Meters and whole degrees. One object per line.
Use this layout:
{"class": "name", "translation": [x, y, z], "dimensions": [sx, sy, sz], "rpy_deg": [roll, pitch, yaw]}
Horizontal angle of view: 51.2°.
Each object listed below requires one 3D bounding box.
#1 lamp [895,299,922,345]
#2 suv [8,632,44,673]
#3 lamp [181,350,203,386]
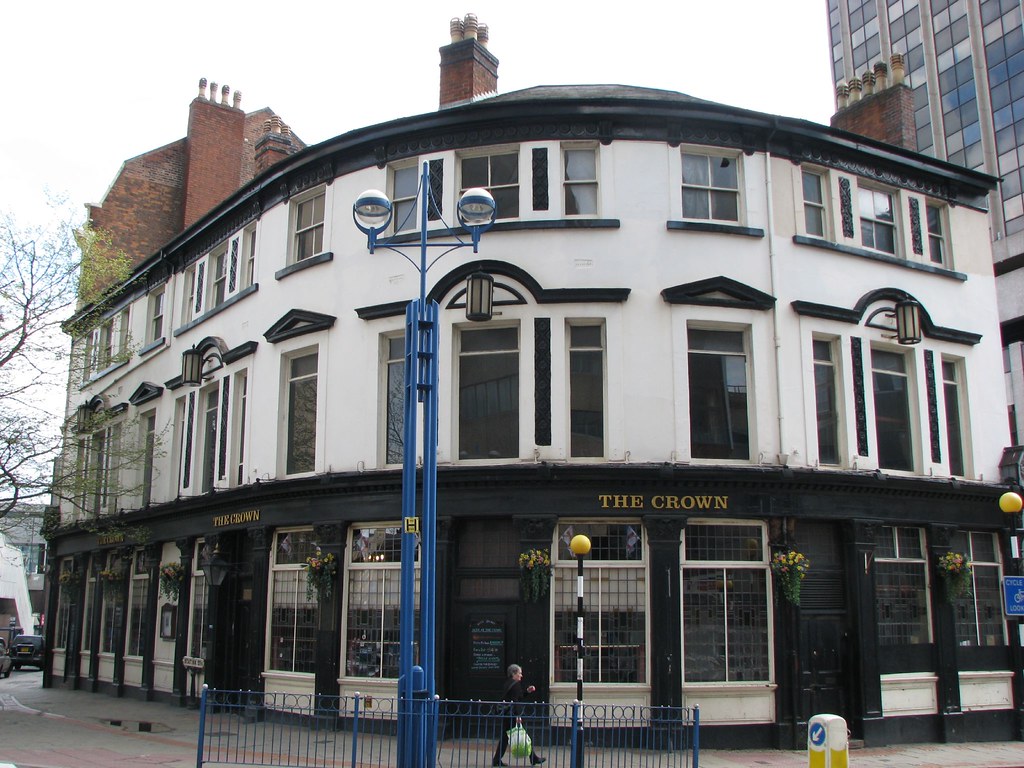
{"class": "lamp", "translation": [9.973, -1.603, 26.942], "dimensions": [0.556, 1.122, 0.465], "rpy_deg": [-5, -17, 18]}
{"class": "suv", "translation": [-22.740, 12.576, 49.967], "dimensions": [1.311, 1.622, 1.966], "rpy_deg": [10, -19, -28]}
{"class": "lamp", "translation": [-9.305, -0.460, 31.093], "dimensions": [0.661, 1.392, 0.730], "rpy_deg": [6, -19, -21]}
